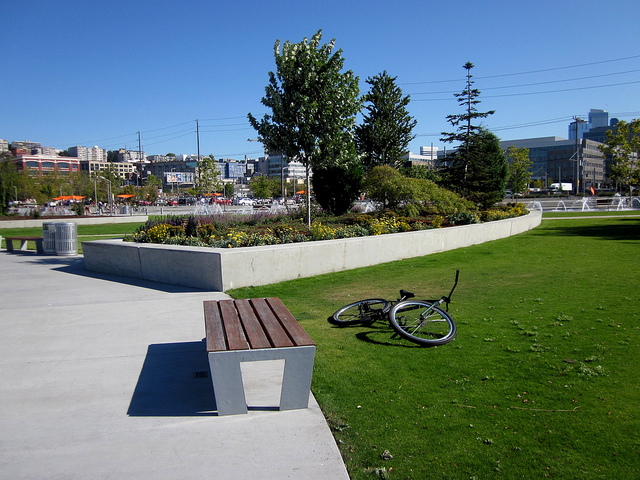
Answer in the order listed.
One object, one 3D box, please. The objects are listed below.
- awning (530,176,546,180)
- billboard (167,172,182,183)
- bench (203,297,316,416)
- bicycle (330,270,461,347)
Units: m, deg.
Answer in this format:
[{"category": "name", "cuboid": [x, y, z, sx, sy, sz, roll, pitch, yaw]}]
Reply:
[{"category": "awning", "cuboid": [65.373, -18.774, 142.659, 3.397, 0.757, 7.033, 7, 11, 44]}, {"category": "billboard", "cuboid": [-55.929, -23.953, 181.874, 4.982, 3.421, 9.165, -3, 8, -21]}, {"category": "bench", "cuboid": [-0.778, 1.468, 5.823, 1.163, 0.894, 1.299, -3, 8, -16]}, {"category": "bicycle", "cuboid": [1.354, 1.275, 7.884, 1.274, 1.175, 2.025, 2, 0, -41]}]
